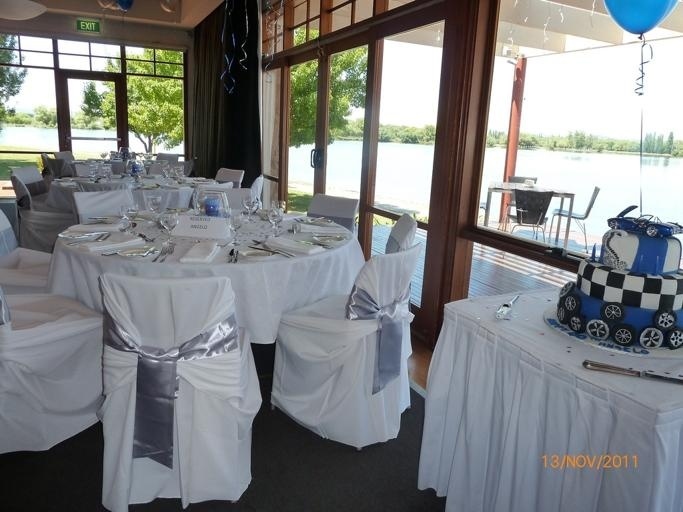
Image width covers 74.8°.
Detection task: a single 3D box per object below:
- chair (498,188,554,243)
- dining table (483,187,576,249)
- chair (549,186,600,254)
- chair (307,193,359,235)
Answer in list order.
[{"bbox_3d":[1.258,-0.296,3.018,0.216,0.457,0.291,5,25,16],"label":"chair"},{"bbox_3d":[1.278,-0.221,3.021,0.466,0.415,0.372,-2,12,-21],"label":"dining table"},{"bbox_3d":[1.395,-0.227,2.640,0.251,0.461,0.242,9,19,21],"label":"chair"},{"bbox_3d":[-0.060,-0.351,3.985,0.309,0.512,0.385,15,6,17],"label":"chair"}]
